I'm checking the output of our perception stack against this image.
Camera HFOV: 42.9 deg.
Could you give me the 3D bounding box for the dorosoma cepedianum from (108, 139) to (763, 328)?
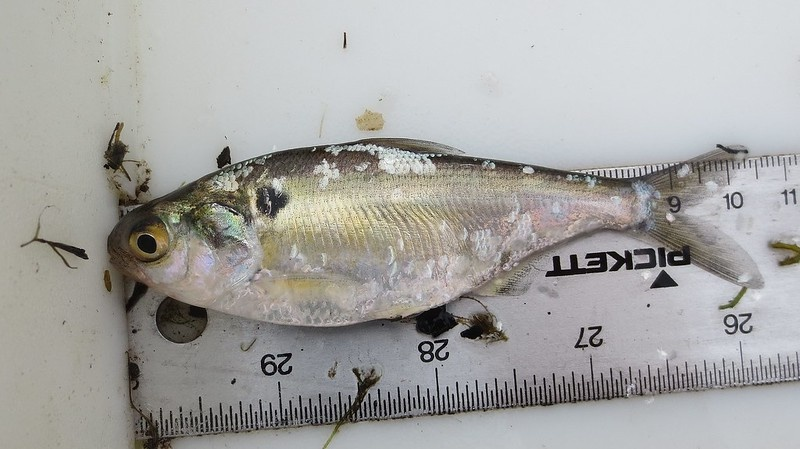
[{"bbox_3d":[0.373,0.071,8.423,5.543,1.342,0.981,-4,12,-1],"label":"dorosoma cepedianum"}]
